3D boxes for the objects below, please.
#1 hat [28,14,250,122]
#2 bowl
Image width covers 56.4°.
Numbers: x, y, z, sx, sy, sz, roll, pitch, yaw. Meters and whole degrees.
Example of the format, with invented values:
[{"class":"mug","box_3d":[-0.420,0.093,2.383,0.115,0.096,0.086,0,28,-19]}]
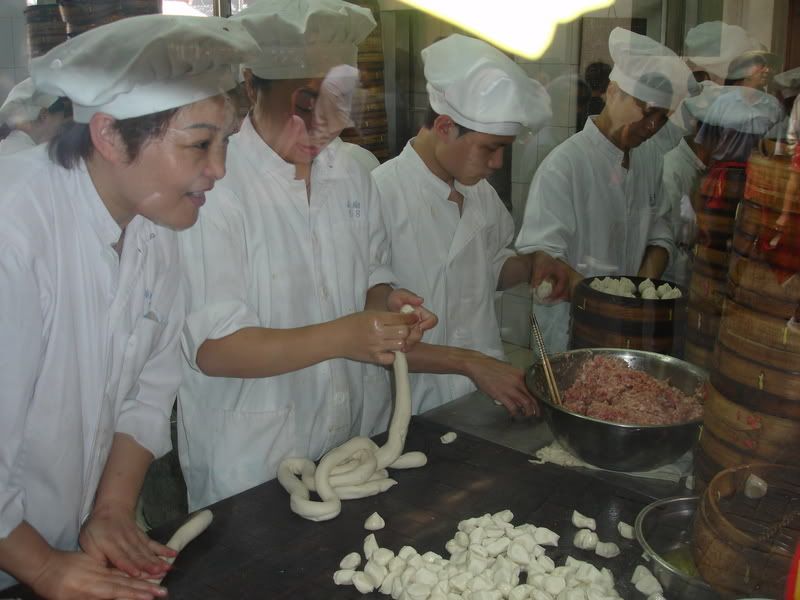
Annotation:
[{"class":"hat","box_3d":[-0.469,-0.444,1.418,0.426,0.177,0.166,-15,25,-26]},{"class":"bowl","box_3d":[0.465,0.198,1.741,0.384,0.259,0.491,0,11,-11]}]
